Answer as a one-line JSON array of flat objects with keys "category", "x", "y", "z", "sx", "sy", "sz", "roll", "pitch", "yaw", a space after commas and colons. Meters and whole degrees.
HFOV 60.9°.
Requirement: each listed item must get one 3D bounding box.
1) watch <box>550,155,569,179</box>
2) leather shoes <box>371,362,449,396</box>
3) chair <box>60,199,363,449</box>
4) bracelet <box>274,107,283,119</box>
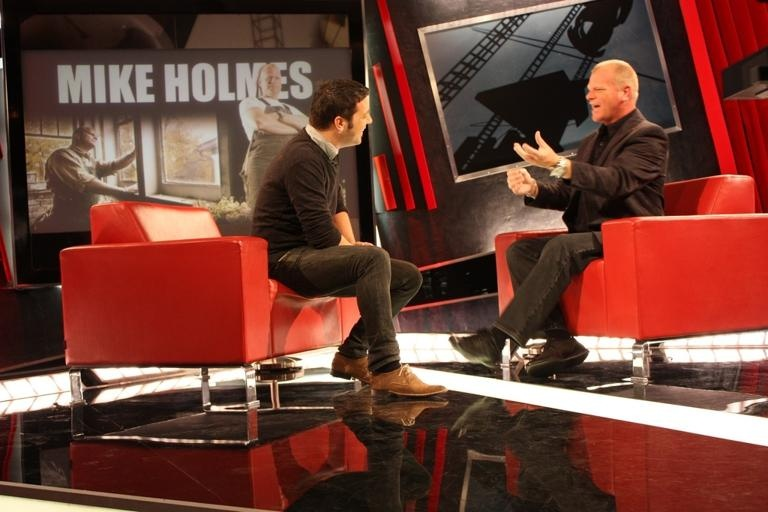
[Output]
[{"category": "watch", "x": 0.903, "y": -0.453, "z": 3.384, "sx": 0.116, "sy": 0.096, "sz": 0.103, "roll": -5, "pitch": 27, "yaw": 9}, {"category": "leather shoes", "x": 0.095, "y": 0.601, "z": 3.143, "sx": 0.423, "sy": 0.133, "sz": 0.129, "roll": 1, "pitch": -5, "yaw": 2}, {"category": "chair", "x": -0.787, "y": 0.298, "z": 3.639, "sx": 1.077, "sy": 1.104, "sz": 1.416, "roll": -3, "pitch": -1, "yaw": 25}, {"category": "bracelet", "x": -0.751, "y": -1.009, "z": 4.662, "sx": 0.061, "sy": 0.072, "sz": 0.024, "roll": -9, "pitch": 11, "yaw": 41}]
